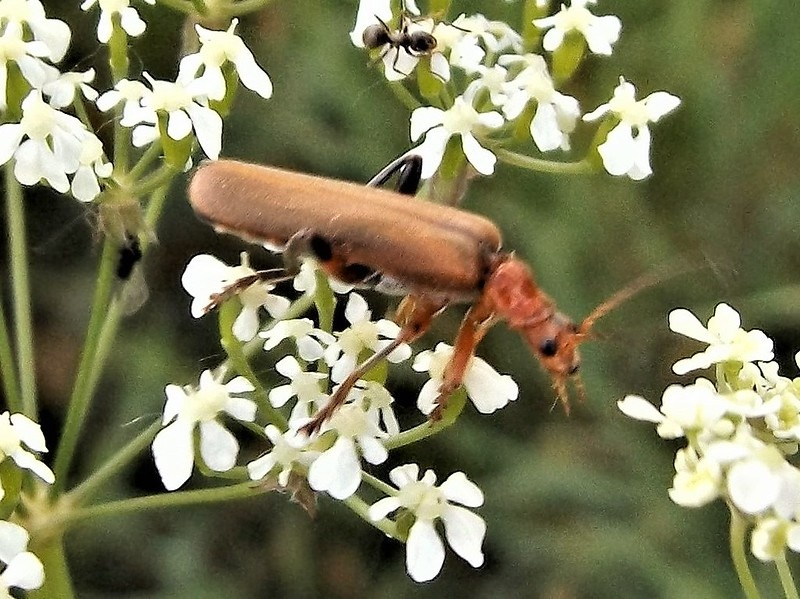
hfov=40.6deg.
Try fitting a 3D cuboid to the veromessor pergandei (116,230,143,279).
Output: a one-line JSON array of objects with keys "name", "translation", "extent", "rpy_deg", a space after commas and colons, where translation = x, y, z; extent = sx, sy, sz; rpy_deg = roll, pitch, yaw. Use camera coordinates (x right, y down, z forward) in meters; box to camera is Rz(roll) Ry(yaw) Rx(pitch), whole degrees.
[{"name": "veromessor pergandei", "translation": [-0.688, -0.118, 2.755], "extent": [0.028, 0.077, 0.101], "rpy_deg": [24, 93, 5]}]
